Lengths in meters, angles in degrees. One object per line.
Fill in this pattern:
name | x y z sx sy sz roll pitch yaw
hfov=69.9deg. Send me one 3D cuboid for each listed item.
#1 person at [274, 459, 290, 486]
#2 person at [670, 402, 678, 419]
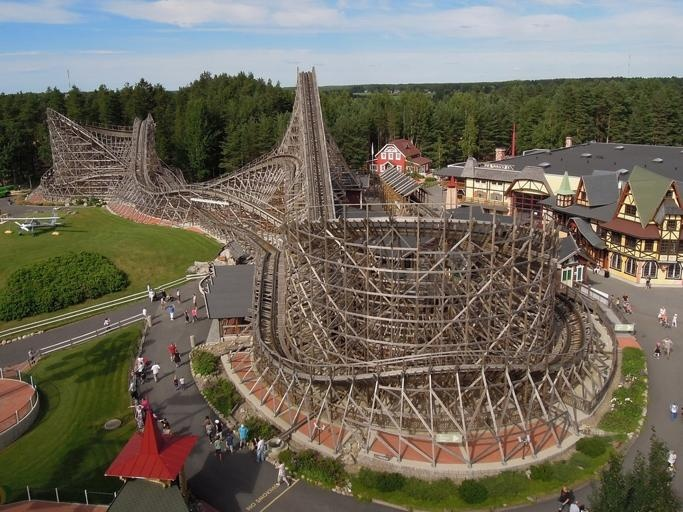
person | -3.045 11.068 24.988 0.431 1.071 0.788 -26 41 -38
person | 19.072 8.838 27.960 0.248 0.818 0.328 4 7 14
